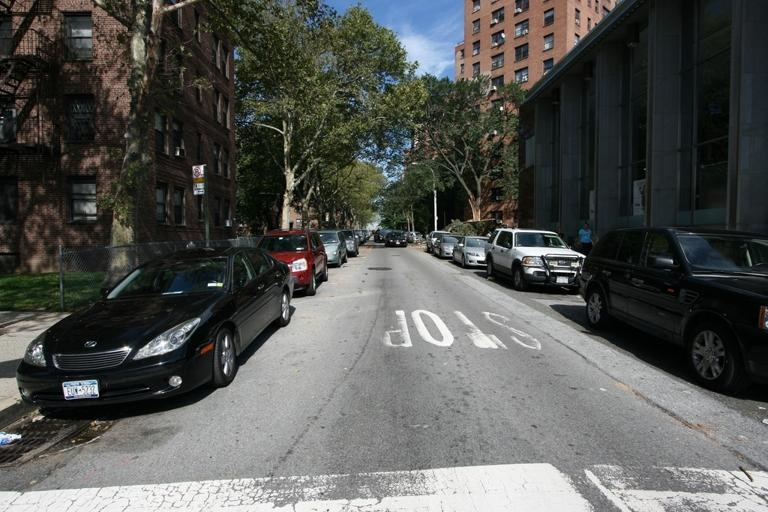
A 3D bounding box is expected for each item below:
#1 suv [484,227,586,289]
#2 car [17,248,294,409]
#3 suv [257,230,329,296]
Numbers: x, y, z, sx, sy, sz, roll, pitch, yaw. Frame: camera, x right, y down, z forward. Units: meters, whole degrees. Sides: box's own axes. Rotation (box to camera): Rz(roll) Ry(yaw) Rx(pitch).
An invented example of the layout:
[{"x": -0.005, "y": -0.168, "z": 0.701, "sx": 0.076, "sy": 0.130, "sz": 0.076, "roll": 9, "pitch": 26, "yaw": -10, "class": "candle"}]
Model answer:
[{"x": 4.862, "y": 0.097, "z": 17.372, "sx": 1.570, "sy": 1.378, "sz": 3.365, "roll": 0, "pitch": -1, "yaw": -8, "class": "suv"}, {"x": -3.650, "y": 1.108, "z": 9.082, "sx": 2.248, "sy": 2.350, "sz": 4.214, "roll": 2, "pitch": 5, "yaw": 29, "class": "car"}, {"x": -2.700, "y": 0.024, "z": 16.681, "sx": 1.181, "sy": 1.248, "sz": 2.751, "roll": -1, "pitch": 0, "yaw": 5, "class": "suv"}]
